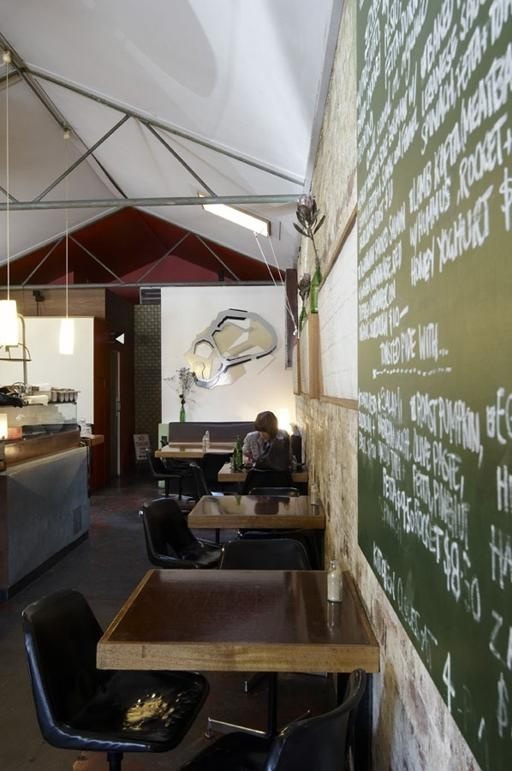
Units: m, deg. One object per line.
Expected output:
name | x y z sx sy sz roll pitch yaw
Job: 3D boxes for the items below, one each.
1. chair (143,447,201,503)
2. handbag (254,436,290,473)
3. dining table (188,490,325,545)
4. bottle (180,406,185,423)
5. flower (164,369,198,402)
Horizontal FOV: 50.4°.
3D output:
chair | -1.099 1.142 6.758 0.473 0.656 0.534 1 2 10
handbag | 0.151 0.603 4.775 0.294 0.465 0.247 0 -13 7
dining table | -0.015 0.782 3.202 0.732 0.228 0.783 -1 -2 -4
bottle | -1.201 0.464 8.764 0.109 0.243 0.118 -1 -1 0
flower | -1.221 -0.036 8.865 0.410 0.574 0.235 -17 -19 13
